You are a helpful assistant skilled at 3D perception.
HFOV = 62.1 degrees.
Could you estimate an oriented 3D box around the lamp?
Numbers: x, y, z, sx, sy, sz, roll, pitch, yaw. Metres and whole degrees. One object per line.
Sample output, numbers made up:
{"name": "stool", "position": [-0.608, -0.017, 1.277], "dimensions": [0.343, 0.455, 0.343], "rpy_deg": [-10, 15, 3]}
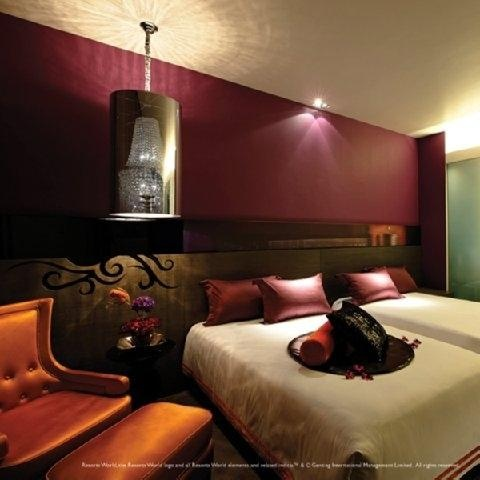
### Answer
{"name": "lamp", "position": [-0.599, -0.794, 2.477], "dimensions": [0.209, 0.951, 0.332], "rpy_deg": [18, 20, 21]}

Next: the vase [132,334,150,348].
{"name": "vase", "position": [-0.662, 0.671, 2.648], "dimensions": [0.092, 0.090, 0.082], "rpy_deg": [2, -3, -15]}

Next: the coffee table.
{"name": "coffee table", "position": [-0.680, 0.910, 2.725], "dimensions": [0.416, 0.511, 0.445], "rpy_deg": [2, 4, 22]}

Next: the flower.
{"name": "flower", "position": [-0.688, 0.485, 2.808], "dimensions": [0.377, 0.421, 0.254], "rpy_deg": [-3, 5, -45]}
